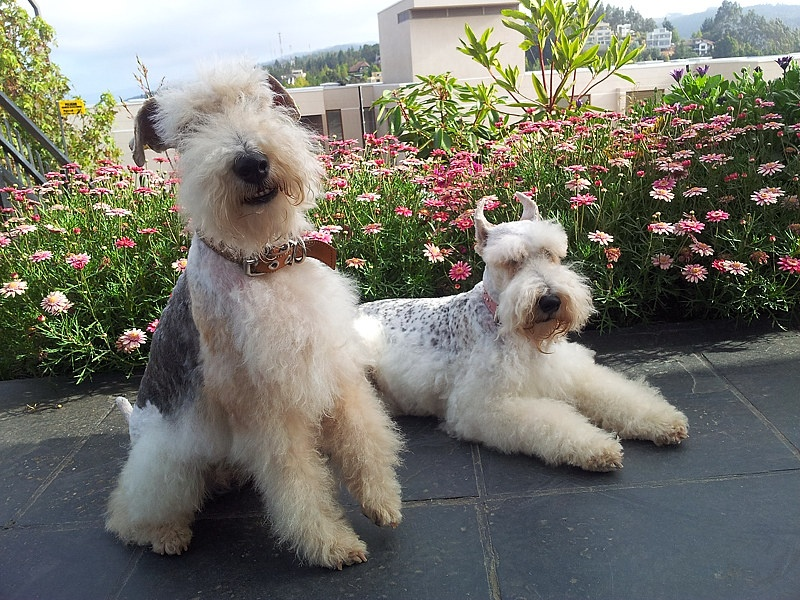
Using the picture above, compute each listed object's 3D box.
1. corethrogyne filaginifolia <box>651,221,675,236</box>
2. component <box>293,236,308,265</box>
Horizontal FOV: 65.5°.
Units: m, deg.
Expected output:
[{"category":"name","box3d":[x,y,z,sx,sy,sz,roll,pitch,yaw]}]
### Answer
[{"category":"corethrogyne filaginifolia","box3d":[1.981,-0.536,4.706,0.130,0.026,0.129,22,25,35]},{"category":"component","box3d":[-0.515,-0.256,3.271,0.079,0.113,0.039,-2,-1,-33]}]
